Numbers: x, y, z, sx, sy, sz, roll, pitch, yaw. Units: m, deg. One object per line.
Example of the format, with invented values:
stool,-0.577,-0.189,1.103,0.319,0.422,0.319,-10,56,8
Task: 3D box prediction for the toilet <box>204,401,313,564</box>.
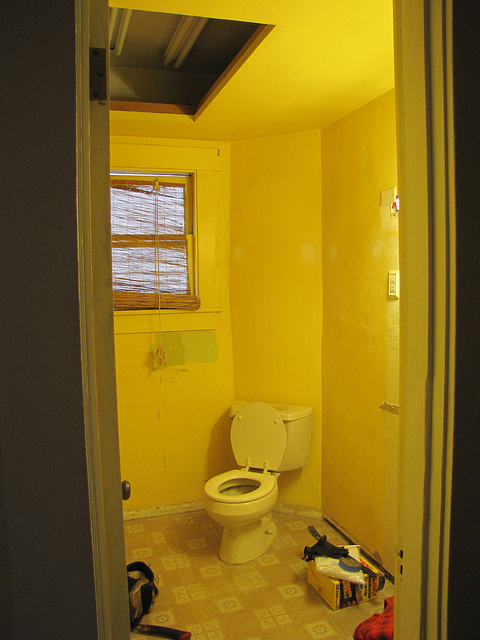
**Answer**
toilet,0.067,0.796,2.848,0.407,0.755,0.589,5,8,29
